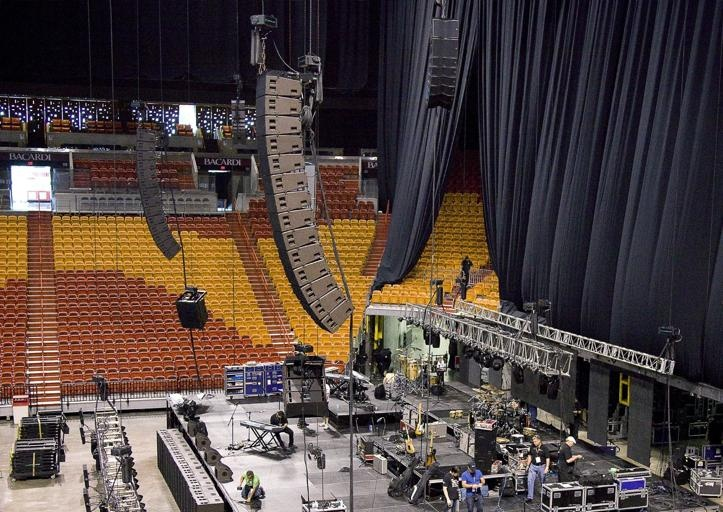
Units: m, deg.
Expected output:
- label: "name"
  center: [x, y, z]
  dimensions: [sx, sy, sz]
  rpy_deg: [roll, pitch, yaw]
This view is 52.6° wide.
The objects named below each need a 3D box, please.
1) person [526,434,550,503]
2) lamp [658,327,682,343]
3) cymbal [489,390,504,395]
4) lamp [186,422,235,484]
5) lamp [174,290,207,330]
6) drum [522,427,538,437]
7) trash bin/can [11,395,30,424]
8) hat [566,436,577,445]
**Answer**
- label: "person"
  center: [4.291, 5.143, 17.579]
  dimensions: [0.506, 1.583, 0.986]
  rpy_deg: [0, 10, 13]
- label: "lamp"
  center: [7.004, 1.784, 16.345]
  dimensions: [0.563, 0.271, 0.598]
  rpy_deg: [2, 2, -11]
- label: "cymbal"
  center: [3.939, 4.008, 21.095]
  dimensions: [0.221, 0.060, 0.233]
  rpy_deg: [1, 2, -14]
- label: "lamp"
  center: [-3.860, 4.983, 18.531]
  dimensions: [0.578, 0.647, 2.837]
  rpy_deg: [-8, 11, -25]
- label: "lamp"
  center: [-3.911, 1.297, 16.825]
  dimensions: [0.650, 1.011, 0.728]
  rpy_deg: [-5, 11, -15]
- label: "drum"
  center: [4.783, 5.041, 20.526]
  dimensions: [0.285, 0.144, 0.308]
  rpy_deg: [0, -1, 0]
- label: "trash bin/can"
  center: [-10.332, 4.746, 22.046]
  dimensions: [0.599, 0.899, 0.422]
  rpy_deg: [-3, 10, -4]
- label: "hat"
  center: [4.867, 4.351, 16.867]
  dimensions: [0.164, 0.249, 0.213]
  rpy_deg: [-2, 10, 2]
